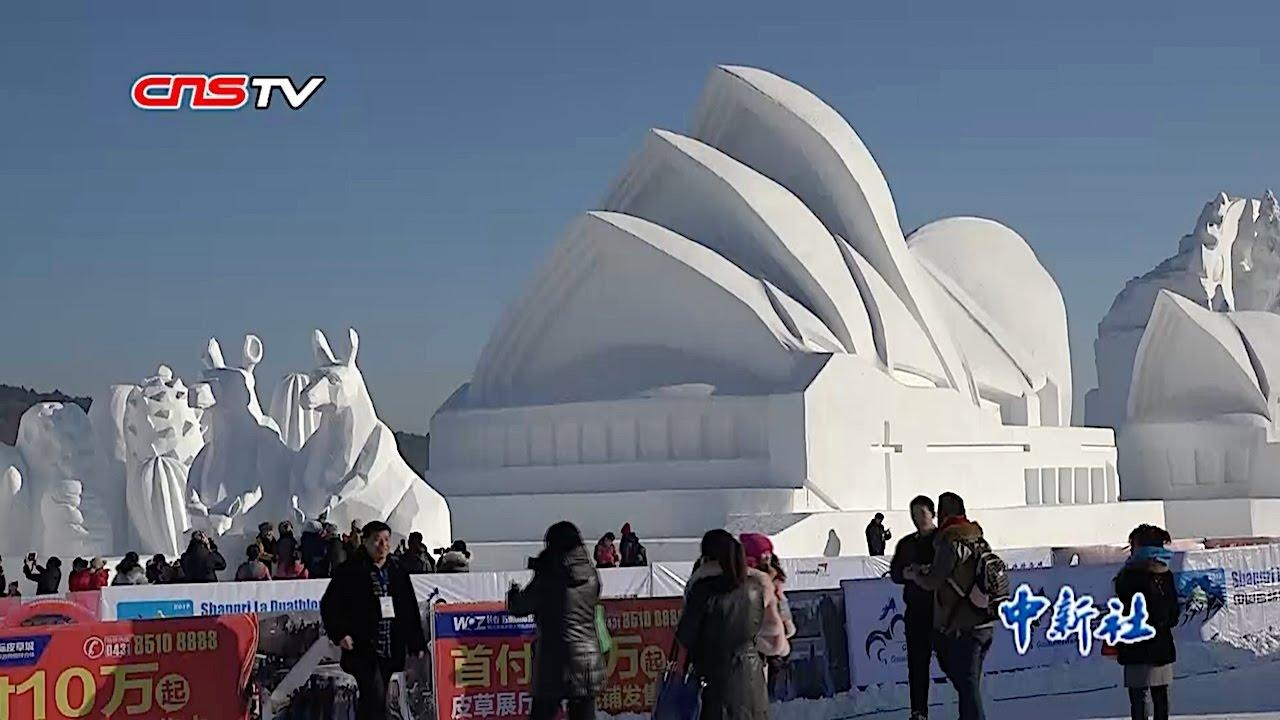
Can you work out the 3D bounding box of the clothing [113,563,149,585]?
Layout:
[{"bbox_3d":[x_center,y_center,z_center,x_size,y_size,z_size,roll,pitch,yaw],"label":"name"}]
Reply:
[{"bbox_3d":[-7.915,3.383,28.513,0.413,0.184,0.545,1,-1,-8],"label":"clothing"}]

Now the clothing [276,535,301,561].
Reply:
[{"bbox_3d":[-5.752,3.146,30.455,0.331,0.552,0.430,-13,-13,40],"label":"clothing"}]

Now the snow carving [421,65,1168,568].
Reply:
[{"bbox_3d":[4.766,0.179,44.060,14.015,7.799,14.183,-5,-6,44],"label":"snow carving"}]

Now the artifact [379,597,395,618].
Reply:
[{"bbox_3d":[-3.278,3.207,23.628,0.216,0.251,0.079,-3,1,-7],"label":"artifact"}]

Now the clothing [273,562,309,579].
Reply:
[{"bbox_3d":[-5.673,3.430,29.782,0.393,0.158,0.507,1,-3,-4],"label":"clothing"}]

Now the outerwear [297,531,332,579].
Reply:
[{"bbox_3d":[-5.375,3.264,30.210,0.731,0.835,0.493,-4,-5,3],"label":"outerwear"}]

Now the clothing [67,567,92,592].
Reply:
[{"bbox_3d":[-8.961,3.551,29.450,0.535,0.522,0.306,1,-11,-18],"label":"clothing"}]

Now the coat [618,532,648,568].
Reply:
[{"bbox_3d":[-0.263,3.514,33.439,0.571,0.829,0.886,-3,-6,6],"label":"coat"}]
